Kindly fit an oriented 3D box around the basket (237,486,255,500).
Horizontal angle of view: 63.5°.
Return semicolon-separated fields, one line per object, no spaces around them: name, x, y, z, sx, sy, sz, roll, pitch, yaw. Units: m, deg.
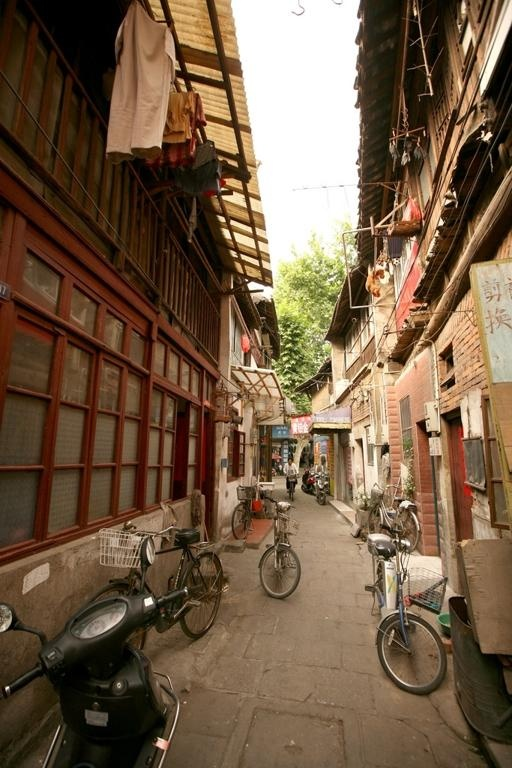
basket;-0.211;2.369;9.049;0.326;0.407;0.483;1;-10;1

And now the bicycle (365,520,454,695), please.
bicycle;1.143;2.054;3.548;0.529;0.795;1.326;18;-30;13

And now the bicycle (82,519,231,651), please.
bicycle;-0.636;1.575;3.347;0.597;1.064;1.648;-10;-23;23

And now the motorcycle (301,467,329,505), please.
motorcycle;2.512;4.114;17.492;0.709;1.072;1.768;6;-18;-8

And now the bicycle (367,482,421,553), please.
bicycle;2.165;1.921;6.287;0.677;0.972;1.474;9;-14;-1

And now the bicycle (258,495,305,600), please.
bicycle;0.295;2.248;5.379;0.469;0.738;1.096;0;-17;0

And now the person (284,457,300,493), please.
person;1.501;3.820;17.771;0.842;1.143;1.671;-1;-17;3

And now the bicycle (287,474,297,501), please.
bicycle;1.475;4.314;17.309;0.391;0.678;1.005;0;-15;2
